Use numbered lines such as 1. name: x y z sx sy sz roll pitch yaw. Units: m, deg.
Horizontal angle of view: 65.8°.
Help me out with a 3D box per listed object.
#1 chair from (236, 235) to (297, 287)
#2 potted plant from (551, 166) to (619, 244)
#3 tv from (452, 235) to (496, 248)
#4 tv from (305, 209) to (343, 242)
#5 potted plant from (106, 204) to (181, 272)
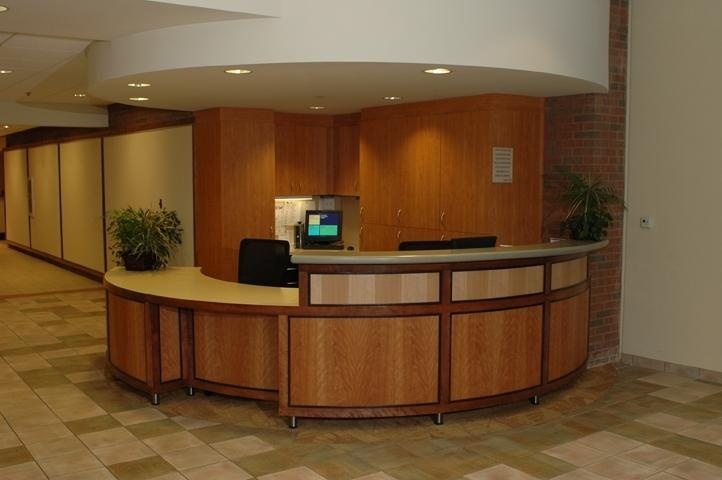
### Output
1. chair: -0.992 0.228 6.393 0.605 0.683 0.585 3 5 7
2. potted plant: 2.694 -0.416 6.533 0.677 0.825 0.810 3 9 15
3. tv: 1.234 0.023 5.897 0.310 0.108 0.664 6 10 34
4. tv: -0.591 -0.201 9.104 0.893 0.677 0.452 0 1 -1
5. potted plant: -2.731 -0.056 7.018 0.763 0.715 0.917 4 3 -43
